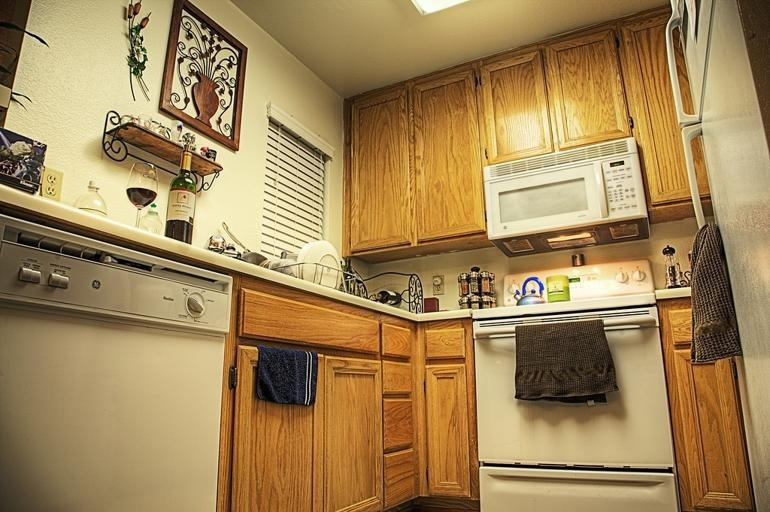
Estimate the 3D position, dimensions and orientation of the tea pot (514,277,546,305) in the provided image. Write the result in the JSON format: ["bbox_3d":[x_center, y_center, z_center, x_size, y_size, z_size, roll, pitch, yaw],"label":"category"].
[{"bbox_3d":[0.831,0.200,3.055,0.211,0.212,0.147,1,-4,-2],"label":"tea pot"}]

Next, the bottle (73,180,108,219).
[{"bbox_3d":[-1.107,-0.222,1.979,0.076,0.143,0.085,-7,-15,18],"label":"bottle"}]

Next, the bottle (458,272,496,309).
[{"bbox_3d":[0.553,0.221,3.297,0.222,0.284,0.228,1,-6,0],"label":"bottle"}]

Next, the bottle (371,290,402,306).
[{"bbox_3d":[0.007,0.259,3.302,0.235,0.080,0.096,5,15,28],"label":"bottle"}]

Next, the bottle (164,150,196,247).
[{"bbox_3d":[-0.856,-0.253,2.204,0.106,0.433,0.143,7,-17,-32],"label":"bottle"}]

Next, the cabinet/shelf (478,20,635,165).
[{"bbox_3d":[1.062,-0.974,3.135,0.780,0.689,0.279,-9,-16,24],"label":"cabinet/shelf"}]

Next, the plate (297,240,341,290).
[{"bbox_3d":[-0.327,0.053,2.590,0.083,0.263,0.265,-5,-8,28],"label":"plate"}]

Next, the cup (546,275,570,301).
[{"bbox_3d":[0.982,0.182,2.983,0.122,0.158,0.106,-6,-15,17],"label":"cup"}]
